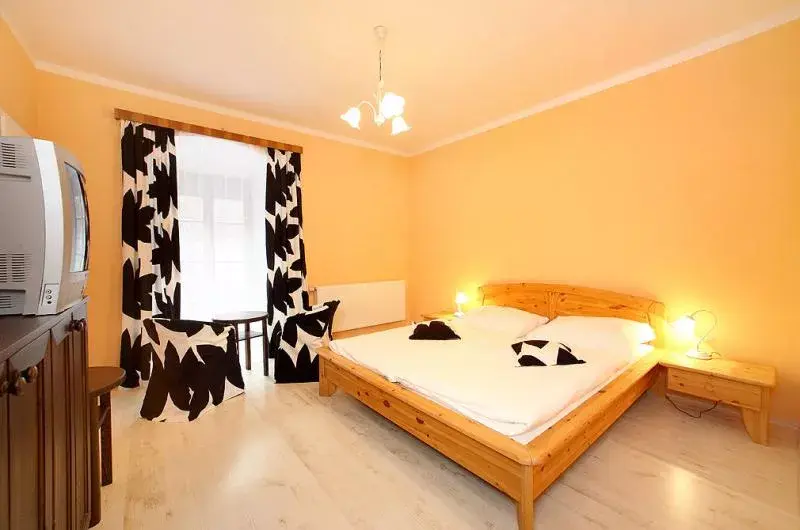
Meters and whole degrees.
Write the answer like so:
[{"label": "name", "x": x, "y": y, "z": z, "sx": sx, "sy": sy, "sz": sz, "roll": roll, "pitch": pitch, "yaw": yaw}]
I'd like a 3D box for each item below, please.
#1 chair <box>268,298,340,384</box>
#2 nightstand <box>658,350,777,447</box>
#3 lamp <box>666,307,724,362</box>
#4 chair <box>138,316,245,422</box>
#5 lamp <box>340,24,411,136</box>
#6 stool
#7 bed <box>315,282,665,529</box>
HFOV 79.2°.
[{"label": "chair", "x": -1.181, "y": 0.937, "z": 5.981, "sx": 0.814, "sy": 1.047, "sz": 0.771, "roll": 2, "pitch": -4, "yaw": -13}, {"label": "nightstand", "x": 2.983, "y": 1.138, "z": 4.524, "sx": 1.139, "sy": 0.709, "sz": 0.669, "roll": 5, "pitch": 8, "yaw": 43}, {"label": "lamp", "x": 3.006, "y": 0.687, "z": 4.905, "sx": 0.311, "sy": 0.561, "sz": 0.557, "roll": -7, "pitch": 5, "yaw": -14}, {"label": "chair", "x": -2.139, "y": 0.992, "z": 5.095, "sx": 0.923, "sy": 0.969, "sz": 1.008, "roll": 5, "pitch": 13, "yaw": 24}, {"label": "lamp", "x": -0.303, "y": -1.770, "z": 5.190, "sx": 0.762, "sy": 0.971, "sz": 1.841, "roll": 0, "pitch": 3, "yaw": -1}, {"label": "stool", "x": -2.393, "y": 1.443, "z": 3.962, "sx": 0.268, "sy": 1.158, "sz": 0.524, "roll": -2, "pitch": 5, "yaw": -30}, {"label": "bed", "x": 0.939, "y": 1.114, "z": 5.140, "sx": 2.593, "sy": 1.715, "sz": 2.707, "roll": -3, "pitch": 4, "yaw": -42}]
